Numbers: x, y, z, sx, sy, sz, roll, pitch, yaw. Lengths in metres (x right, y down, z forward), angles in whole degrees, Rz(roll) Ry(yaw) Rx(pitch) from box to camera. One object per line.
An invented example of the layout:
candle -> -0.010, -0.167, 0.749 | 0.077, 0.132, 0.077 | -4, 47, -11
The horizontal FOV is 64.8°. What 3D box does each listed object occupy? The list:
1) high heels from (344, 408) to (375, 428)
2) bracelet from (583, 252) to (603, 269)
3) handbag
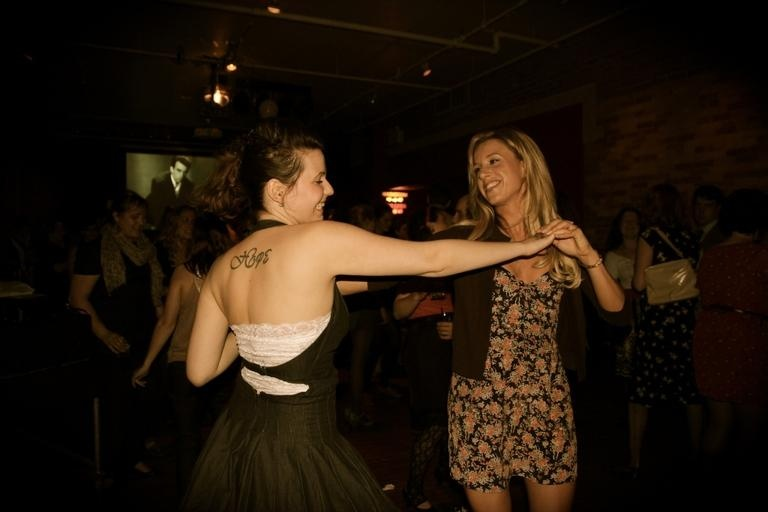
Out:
high heels -> -0.321, 1.920, 7.211 | 0.283, 0.193, 0.234 | 21, -7, -12
bracelet -> 1.450, 0.042, 4.208 | 0.107, 0.034, 0.107 | -30, -7, -17
handbag -> 2.328, 0.206, 4.914 | 0.378, 0.346, 0.186 | -1, 10, -1
